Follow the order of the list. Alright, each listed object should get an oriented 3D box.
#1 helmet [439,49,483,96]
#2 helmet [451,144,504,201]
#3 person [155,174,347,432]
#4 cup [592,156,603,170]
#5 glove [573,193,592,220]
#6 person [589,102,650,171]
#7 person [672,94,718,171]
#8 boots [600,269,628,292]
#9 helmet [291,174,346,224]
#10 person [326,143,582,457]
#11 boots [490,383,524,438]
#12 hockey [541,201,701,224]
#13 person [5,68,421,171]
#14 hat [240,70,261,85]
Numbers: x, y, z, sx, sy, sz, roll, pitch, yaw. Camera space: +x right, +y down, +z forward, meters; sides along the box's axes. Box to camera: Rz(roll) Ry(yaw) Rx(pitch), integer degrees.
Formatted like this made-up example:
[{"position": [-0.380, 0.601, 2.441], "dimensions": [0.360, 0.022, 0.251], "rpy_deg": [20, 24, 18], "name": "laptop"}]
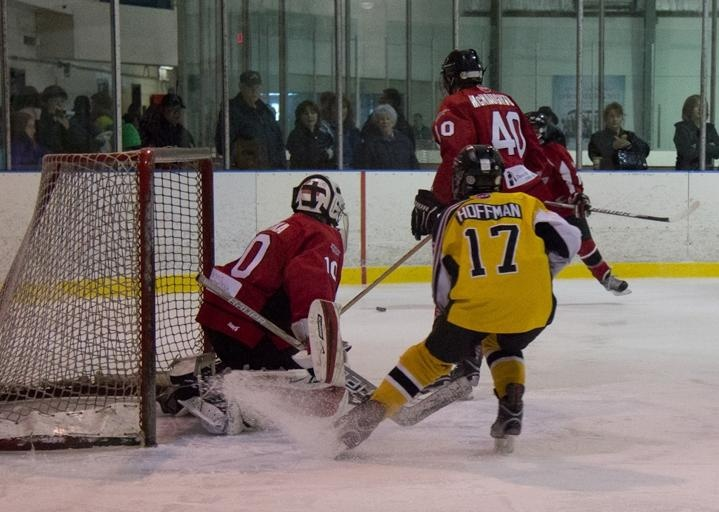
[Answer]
[{"position": [0.631, -1.133, 6.232], "dimensions": [0.262, 0.274, 0.280], "rpy_deg": [-7, 7, -27], "name": "helmet"}, {"position": [0.602, -0.409, 5.135], "dimensions": [0.283, 0.302, 0.326], "rpy_deg": [-1, 11, -6], "name": "helmet"}, {"position": [-0.384, 0.212, 5.421], "dimensions": [1.165, 1.279, 0.991], "rpy_deg": [7, 10, -4], "name": "person"}, {"position": [2.400, -0.933, 10.125], "dimensions": [0.113, 0.106, 0.119], "rpy_deg": [1, 7, 0], "name": "cup"}, {"position": [1.700, -0.384, 7.601], "dimensions": [0.142, 0.167, 0.076], "rpy_deg": [4, -10, -16], "name": "glove"}, {"position": [2.592, -1.200, 10.057], "dimensions": [0.738, 0.845, 0.505], "rpy_deg": [-2, 4, -12], "name": "person"}, {"position": [3.443, -1.258, 10.134], "dimensions": [0.486, 0.742, 0.149], "rpy_deg": [-2, 13, -12], "name": "person"}, {"position": [2.145, 0.210, 8.366], "dimensions": [0.115, 0.123, 0.290], "rpy_deg": [-42, 22, -8], "name": "boots"}, {"position": [-0.218, -0.298, 5.394], "dimensions": [0.342, 0.267, 0.257], "rpy_deg": [2, -11, 0], "name": "helmet"}, {"position": [0.526, 0.315, 4.817], "dimensions": [1.063, 1.200, 0.495], "rpy_deg": [1, 13, 3], "name": "person"}, {"position": [0.752, 0.740, 4.980], "dimensions": [0.128, 0.242, 0.363], "rpy_deg": [4, -2, 0], "name": "boots"}, {"position": [2.335, -0.382, 8.753], "dimensions": [1.580, 0.107, 0.247], "rpy_deg": [9, -11, 46], "name": "hockey"}, {"position": [-1.098, -1.279, 9.307], "dimensions": [3.703, 0.973, 0.317], "rpy_deg": [-3, 13, -17], "name": "person"}, {"position": [-1.015, -1.659, 9.349], "dimensions": [0.127, 0.088, 0.162], "rpy_deg": [-6, 16, -26], "name": "hat"}]
